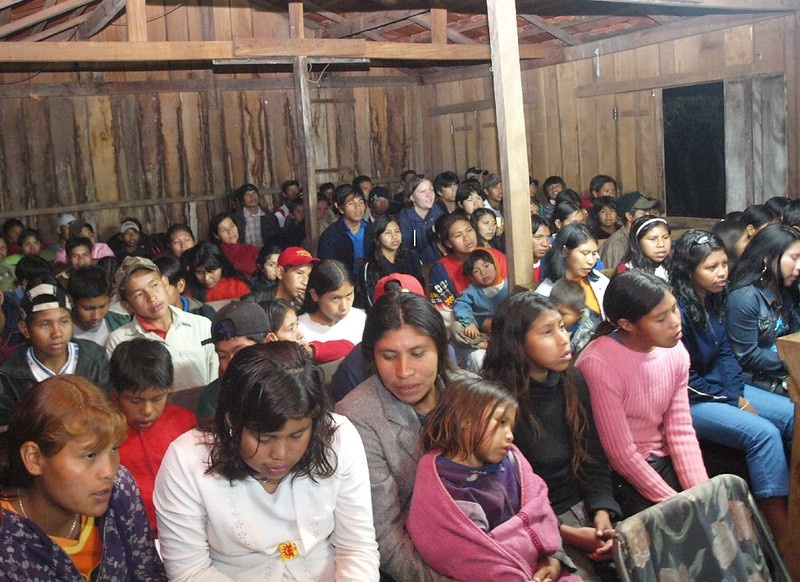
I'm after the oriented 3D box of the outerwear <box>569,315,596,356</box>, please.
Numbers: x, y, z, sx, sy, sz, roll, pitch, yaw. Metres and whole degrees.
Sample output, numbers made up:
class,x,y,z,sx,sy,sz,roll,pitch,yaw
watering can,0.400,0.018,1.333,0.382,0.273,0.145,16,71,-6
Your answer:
class,x,y,z,sx,sy,sz,roll,pitch,yaw
outerwear,1.078,0.270,3.967,0.073,0.192,0.138,32,-18,-7

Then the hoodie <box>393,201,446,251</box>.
class,x,y,z,sx,sy,sz,roll,pitch,yaw
hoodie,0.199,-0.645,6.730,0.465,0.441,0.264,-31,24,-28

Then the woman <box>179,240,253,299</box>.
class,x,y,z,sx,sy,sz,roll,pitch,yaw
woman,-1.530,-0.189,5.452,0.439,0.336,0.588,5,-18,3

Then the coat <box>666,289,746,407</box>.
class,x,y,z,sx,sy,sz,roll,pitch,yaw
coat,1.762,0.339,3.840,0.480,0.684,0.407,-11,5,-40

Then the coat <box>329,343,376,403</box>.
class,x,y,z,sx,sy,sz,roll,pitch,yaw
coat,-0.228,0.408,3.218,0.141,0.273,0.211,19,36,-23

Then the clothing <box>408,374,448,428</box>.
class,x,y,z,sx,sy,sz,roll,pitch,yaw
clothing,0.135,0.460,2.843,0.142,0.096,0.194,3,29,14

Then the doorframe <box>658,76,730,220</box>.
class,x,y,z,sx,sy,sz,roll,pitch,yaw
doorframe,3.126,-1.535,7.273,0.023,1.417,0.699,-5,8,-40

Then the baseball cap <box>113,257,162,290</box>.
class,x,y,z,sx,sy,sz,roll,pitch,yaw
baseball cap,-1.690,-0.122,4.266,0.242,0.185,0.378,-7,7,-24

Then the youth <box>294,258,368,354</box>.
class,x,y,z,sx,sy,sz,roll,pitch,yaw
youth,-0.448,0.105,4.156,0.304,0.393,0.477,14,25,36

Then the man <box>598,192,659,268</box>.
class,x,y,z,sx,sy,sz,roll,pitch,yaw
man,2.097,-0.525,6.234,0.357,0.708,0.391,12,-5,38

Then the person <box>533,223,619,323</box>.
class,x,y,z,sx,sy,sz,roll,pitch,yaw
person,1.276,-0.118,4.803,0.679,0.711,0.373,-9,14,-18

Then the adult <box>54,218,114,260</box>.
class,x,y,z,sx,sy,sz,roll,pitch,yaw
adult,-3.472,-0.565,7.262,0.545,0.395,0.870,-8,14,-35

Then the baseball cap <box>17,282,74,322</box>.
class,x,y,z,sx,sy,sz,roll,pitch,yaw
baseball cap,-2.006,0.050,3.768,0.201,0.222,0.268,-16,-13,-38

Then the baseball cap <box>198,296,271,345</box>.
class,x,y,z,sx,sy,sz,roll,pitch,yaw
baseball cap,-0.861,0.155,3.504,0.399,0.232,0.290,-6,-2,-40

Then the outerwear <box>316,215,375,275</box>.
class,x,y,z,sx,sy,sz,roll,pitch,yaw
outerwear,-0.470,-0.487,6.760,0.652,0.559,0.358,0,-6,-9

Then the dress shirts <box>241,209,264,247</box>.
class,x,y,z,sx,sy,sz,roll,pitch,yaw
dress shirts,-1.949,-0.870,8.962,0.361,0.543,0.283,-6,34,-9

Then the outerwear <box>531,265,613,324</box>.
class,x,y,z,sx,sy,sz,roll,pitch,yaw
outerwear,1.207,0.128,4.650,0.596,0.589,0.340,-2,-5,-2

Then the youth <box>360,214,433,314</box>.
class,x,y,z,sx,sy,sz,roll,pitch,yaw
youth,-0.073,-0.176,5.761,0.592,0.954,0.502,-11,28,-28

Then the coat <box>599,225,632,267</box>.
class,x,y,z,sx,sy,sz,roll,pitch,yaw
coat,1.922,-0.394,5.928,0.233,0.384,0.417,11,17,26

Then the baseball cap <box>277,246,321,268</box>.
class,x,y,z,sx,sy,sz,roll,pitch,yaw
baseball cap,-0.751,-0.237,4.791,0.220,0.118,0.160,-7,2,27

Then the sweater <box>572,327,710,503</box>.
class,x,y,z,sx,sy,sz,roll,pitch,yaw
sweater,1.241,0.612,3.303,0.552,0.786,0.547,-12,13,-18

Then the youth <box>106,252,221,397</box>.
class,x,y,z,sx,sy,sz,roll,pitch,yaw
youth,-1.557,0.300,4.331,0.651,1.267,0.395,-12,37,-13

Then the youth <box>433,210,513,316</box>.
class,x,y,z,sx,sy,sz,roll,pitch,yaw
youth,0.584,-0.189,5.544,0.650,0.847,0.474,-9,1,7

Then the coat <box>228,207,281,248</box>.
class,x,y,z,sx,sy,sz,roll,pitch,yaw
coat,-1.947,-0.890,8.970,0.656,0.660,0.361,-3,48,-10

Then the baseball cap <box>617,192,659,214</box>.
class,x,y,z,sx,sy,sz,roll,pitch,yaw
baseball cap,2.384,-0.831,6.775,0.370,0.213,0.273,-6,8,41

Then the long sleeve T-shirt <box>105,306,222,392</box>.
class,x,y,z,sx,sy,sz,roll,pitch,yaw
long sleeve T-shirt,-1.317,0.340,3.759,0.354,0.389,0.199,-27,-4,-33

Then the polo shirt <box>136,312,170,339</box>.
class,x,y,z,sx,sy,sz,roll,pitch,yaw
polo shirt,-1.555,0.228,4.187,0.166,0.072,0.144,35,13,11

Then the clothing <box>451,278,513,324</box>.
class,x,y,z,sx,sy,sz,roll,pitch,yaw
clothing,0.681,0.093,5.203,0.561,0.331,0.275,-10,22,-19

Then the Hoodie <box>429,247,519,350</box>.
class,x,y,z,sx,sy,sz,roll,pitch,yaw
Hoodie,0.580,0.020,5.113,0.577,0.804,0.714,1,4,-1
